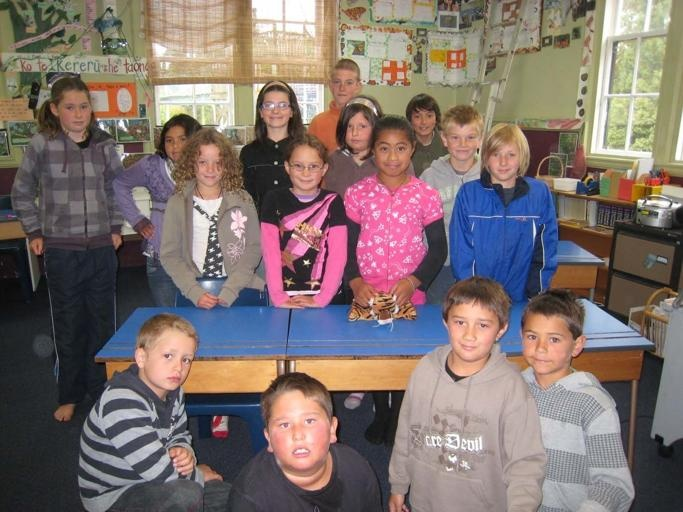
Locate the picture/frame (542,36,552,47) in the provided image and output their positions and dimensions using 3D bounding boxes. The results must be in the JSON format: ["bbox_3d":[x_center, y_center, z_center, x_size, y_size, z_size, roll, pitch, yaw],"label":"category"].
[{"bbox_3d":[1.972,-2.055,5.392,0.025,0.099,0.130,-8,17,-22],"label":"picture/frame"}]

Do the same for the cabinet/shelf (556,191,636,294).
[{"bbox_3d":[2.084,-0.099,4.540,0.322,0.730,0.804,-8,14,-26],"label":"cabinet/shelf"}]

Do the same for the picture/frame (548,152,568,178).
[{"bbox_3d":[2.115,-0.883,5.470,0.025,0.321,0.253,-8,11,-26],"label":"picture/frame"}]

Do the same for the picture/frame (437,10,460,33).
[{"bbox_3d":[1.193,-2.646,6.332,0.253,0.181,0.025,0,17,-9],"label":"picture/frame"}]
